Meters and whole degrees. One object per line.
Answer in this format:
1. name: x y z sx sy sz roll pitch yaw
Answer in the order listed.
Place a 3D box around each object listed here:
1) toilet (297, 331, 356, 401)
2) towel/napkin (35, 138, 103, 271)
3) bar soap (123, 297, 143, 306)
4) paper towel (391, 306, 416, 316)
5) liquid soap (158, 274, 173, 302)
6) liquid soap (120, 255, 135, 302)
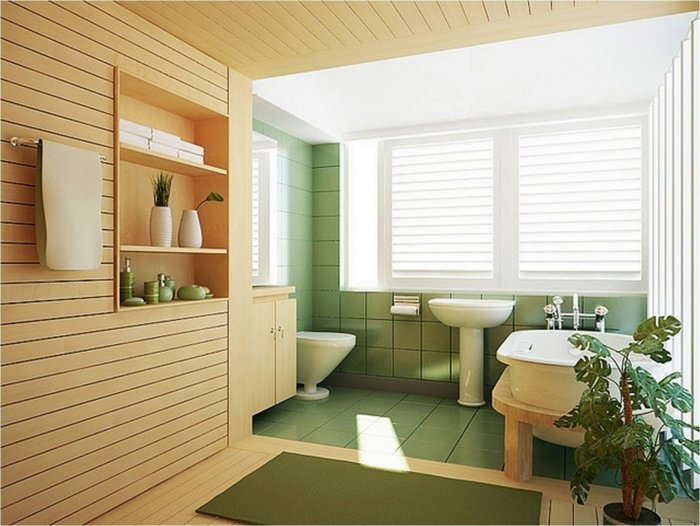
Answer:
1. toilet: -0.288 0.992 4.733 0.751 0.559 0.587 -2 -6 7
2. towel/napkin: -1.377 -0.276 2.457 0.075 0.606 0.291 2 2 33
3. bar soap: -1.231 0.218 2.843 0.068 0.030 0.053 -1 -2 36
4. paper towel: 0.536 0.467 4.833 0.269 0.114 0.140 1 2 10
5. liquid soap: -1.176 0.154 3.176 0.089 0.169 0.281 0 2 -19
6. liquid soap: -1.288 0.101 2.867 0.068 0.261 0.101 0 2 -23
